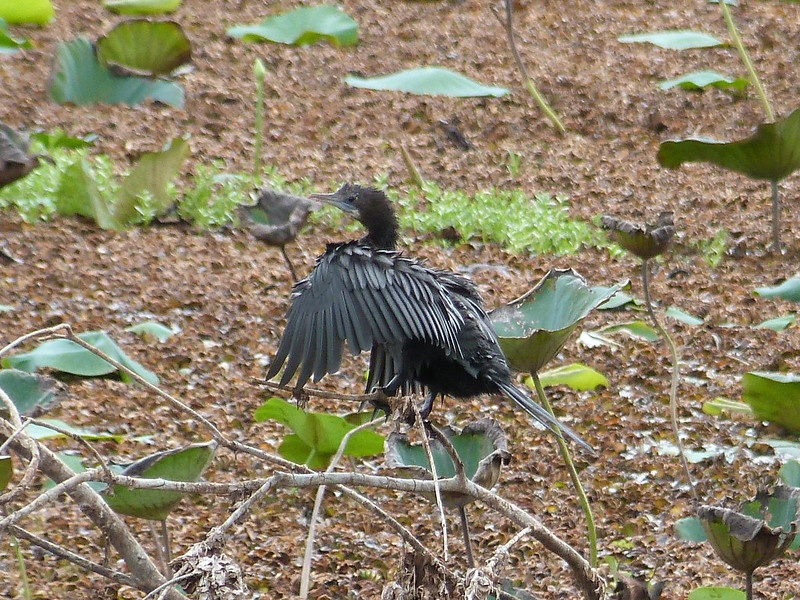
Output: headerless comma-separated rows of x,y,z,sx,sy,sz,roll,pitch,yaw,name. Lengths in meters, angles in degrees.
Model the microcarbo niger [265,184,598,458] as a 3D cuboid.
0.049,0.035,6.451,1.459,0.855,1.180,4,-4,35,microcarbo niger
